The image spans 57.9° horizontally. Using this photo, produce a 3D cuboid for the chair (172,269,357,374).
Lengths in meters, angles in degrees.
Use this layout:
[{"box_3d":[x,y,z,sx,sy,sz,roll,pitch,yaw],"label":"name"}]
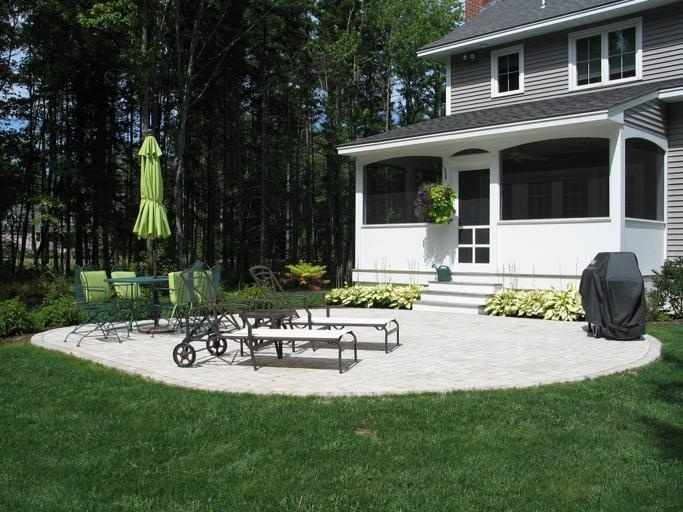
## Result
[{"box_3d":[-1.448,1.028,10.132,2.950,1.843,1.507,0,0,14],"label":"chair"}]
